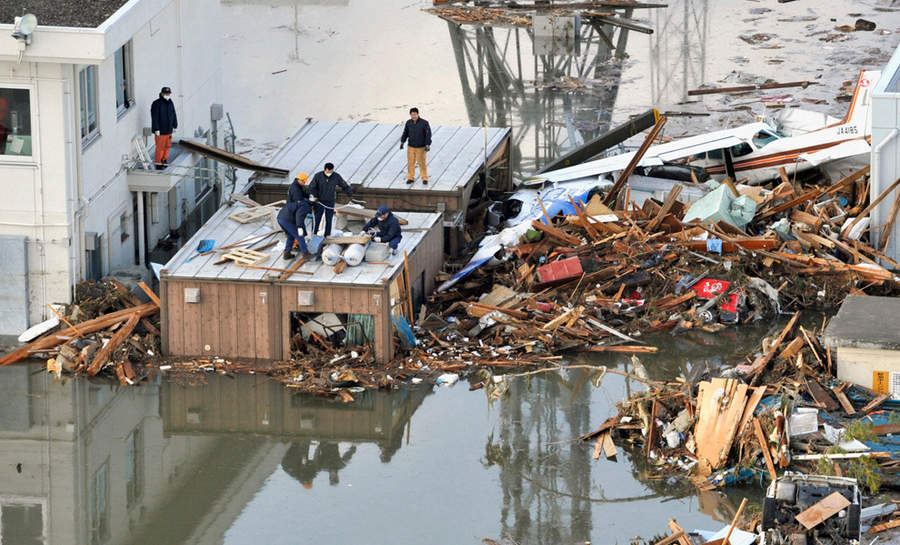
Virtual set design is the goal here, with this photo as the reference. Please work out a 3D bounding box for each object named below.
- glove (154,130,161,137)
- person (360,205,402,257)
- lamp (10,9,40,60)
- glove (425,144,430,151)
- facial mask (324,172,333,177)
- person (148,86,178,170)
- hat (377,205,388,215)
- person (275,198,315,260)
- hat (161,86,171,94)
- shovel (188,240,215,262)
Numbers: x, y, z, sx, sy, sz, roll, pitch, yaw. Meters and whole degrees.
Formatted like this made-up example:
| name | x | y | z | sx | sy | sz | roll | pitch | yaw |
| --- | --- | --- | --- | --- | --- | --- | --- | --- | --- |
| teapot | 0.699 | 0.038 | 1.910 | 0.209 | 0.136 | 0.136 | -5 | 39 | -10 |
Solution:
| name | x | y | z | sx | sy | sz | roll | pitch | yaw |
| --- | --- | --- | --- | --- | --- | --- | --- | --- | --- |
| glove | -10.001 | -4.764 | 57.427 | 0.143 | 0.166 | 0.147 | -8 | -21 | 10 |
| person | -2.250 | -1.383 | 54.640 | 1.300 | 1.553 | 0.777 | 8 | 11 | 44 |
| lamp | -13.285 | -7.382 | 52.441 | 0.787 | 1.413 | 0.370 | 1 | 9 | -1 |
| glove | -0.744 | -4.302 | 58.098 | 0.135 | 0.132 | 0.157 | 6 | 5 | 0 |
| facial mask | -3.911 | -3.193 | 54.590 | 0.240 | 0.164 | 0.313 | 0 | 7 | -8 |
| person | -9.843 | -4.963 | 57.499 | 0.814 | 2.790 | 1.078 | 0 | 8 | -2 |
| hat | -2.144 | -1.967 | 54.331 | 0.308 | 0.202 | 0.416 | 13 | 19 | 3 |
| person | -5.018 | -1.382 | 54.144 | 1.026 | 1.960 | 0.703 | 0 | 8 | -6 |
| hat | -9.767 | -6.250 | 57.486 | 0.362 | 0.208 | 0.476 | -6 | 10 | -39 |
| shovel | -8.049 | -0.755 | 54.650 | 0.358 | 0.158 | 1.185 | -3 | 31 | 27 |
